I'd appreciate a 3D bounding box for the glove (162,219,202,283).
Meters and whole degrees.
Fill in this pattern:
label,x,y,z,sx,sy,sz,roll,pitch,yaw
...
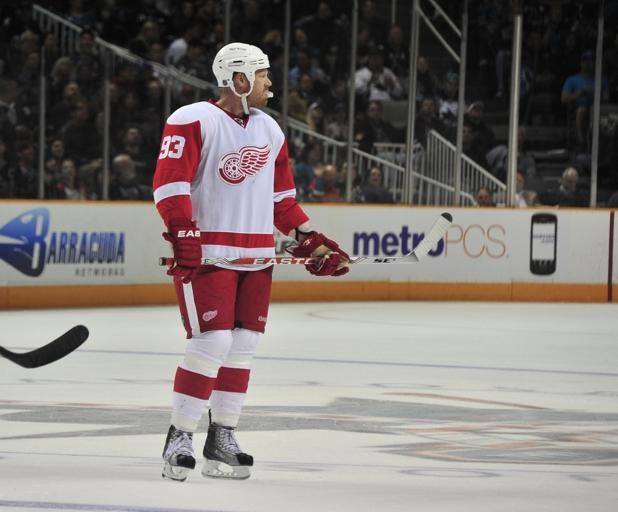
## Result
label,x,y,z,sx,sy,sz,roll,pitch,yaw
glove,-0.768,-0.042,7.851,0.241,0.369,0.186,-1,11,-12

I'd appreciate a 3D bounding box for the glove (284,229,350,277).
label,x,y,z,sx,sy,sz,roll,pitch,yaw
glove,0.058,-0.009,8.231,0.343,0.261,0.157,35,21,1

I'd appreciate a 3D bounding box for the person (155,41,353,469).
label,x,y,z,sx,sy,sz,roll,pitch,yaw
person,-0.501,0.020,8.017,0.682,2.666,1.063,10,14,39

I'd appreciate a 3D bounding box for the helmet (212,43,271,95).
label,x,y,z,sx,sy,sz,roll,pitch,yaw
helmet,-0.432,-1.169,8.069,0.379,0.341,0.287,-8,6,0

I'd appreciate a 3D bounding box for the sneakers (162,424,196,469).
label,x,y,z,sx,sy,sz,roll,pitch,yaw
sneakers,-0.794,1.187,7.879,0.192,0.252,0.166,0,10,-5
